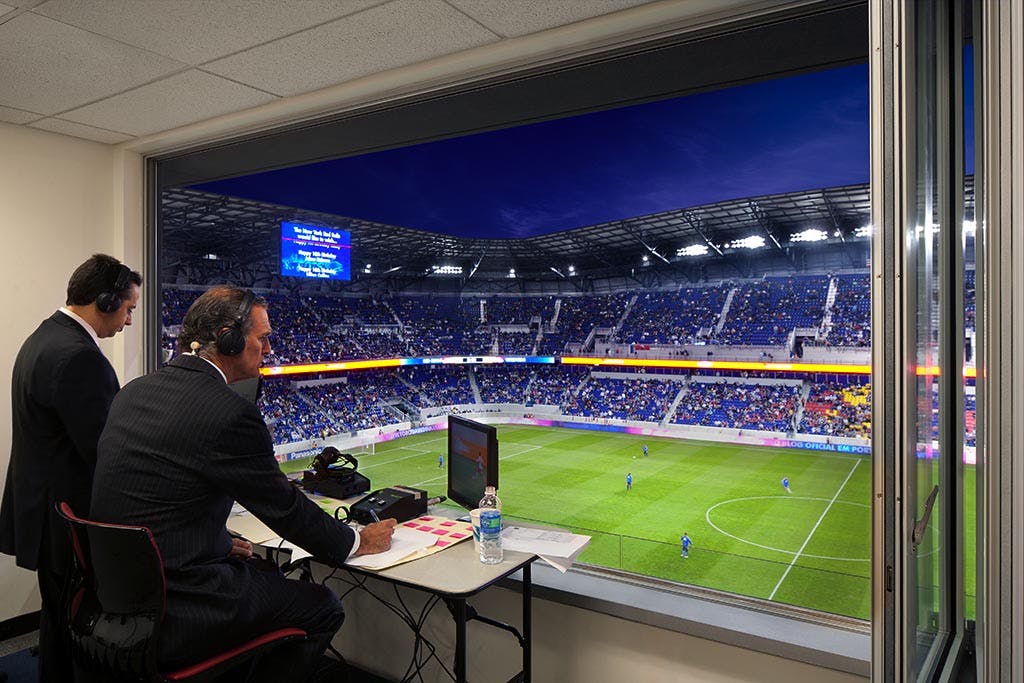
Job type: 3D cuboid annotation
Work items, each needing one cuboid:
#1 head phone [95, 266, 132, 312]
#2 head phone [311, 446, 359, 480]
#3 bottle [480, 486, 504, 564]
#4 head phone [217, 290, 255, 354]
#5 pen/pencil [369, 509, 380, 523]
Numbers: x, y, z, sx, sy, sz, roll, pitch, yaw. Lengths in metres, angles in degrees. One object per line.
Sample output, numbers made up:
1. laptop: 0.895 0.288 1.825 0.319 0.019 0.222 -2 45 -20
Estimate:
1. head phone: -2.293 -0.306 3.766 0.096 0.230 0.219 25 -29 -29
2. head phone: -1.235 0.839 4.492 0.313 0.143 0.214 -5 -8 43
3. bottle: -0.113 0.998 3.549 0.134 0.332 0.301 -1 3 -3
4. head phone: -1.264 -0.086 2.988 0.122 0.301 0.282 10 -7 -11
5. pen/pencil: -0.801 1.040 3.840 0.027 0.026 0.108 -10 36 -30
